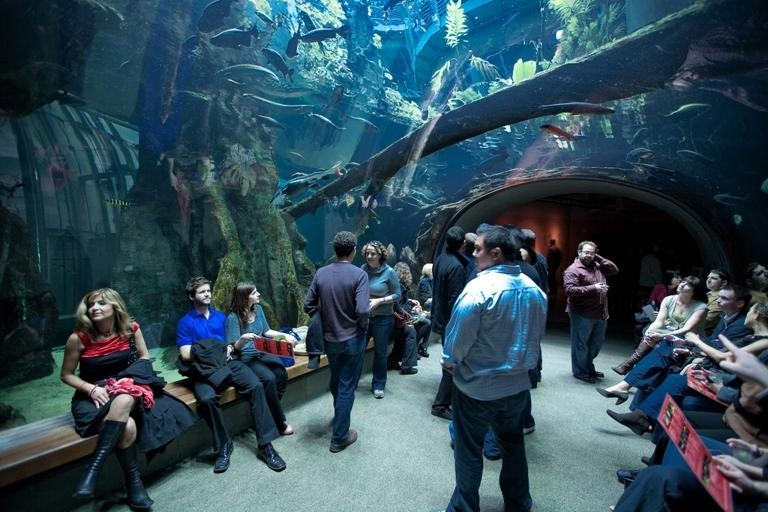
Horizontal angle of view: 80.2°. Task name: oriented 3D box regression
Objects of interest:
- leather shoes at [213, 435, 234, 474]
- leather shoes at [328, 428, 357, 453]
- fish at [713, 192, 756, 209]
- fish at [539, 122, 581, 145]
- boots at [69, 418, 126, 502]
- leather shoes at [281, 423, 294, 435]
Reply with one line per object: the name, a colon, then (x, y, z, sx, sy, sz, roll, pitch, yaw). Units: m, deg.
leather shoes: (-2.095, 2.643, 5.985, 0.182, 0.174, 0.448, 7, 18, -13)
leather shoes: (-0.541, 2.575, 6.259, 0.171, 0.183, 0.461, 6, 10, 29)
fish: (7.216, -1.163, 9.482, 0.273, 0.325, 0.733, 1, -1, -9)
fish: (4.189, -2.940, 10.766, 0.945, 0.318, 0.205, 25, -2, 2)
boots: (-3.383, 2.423, 5.431, 0.506, 0.936, 0.233, 1, -1, -38)
leather shoes: (-1.382, 2.496, 6.519, 0.209, 0.081, 0.105, -5, -3, 42)
